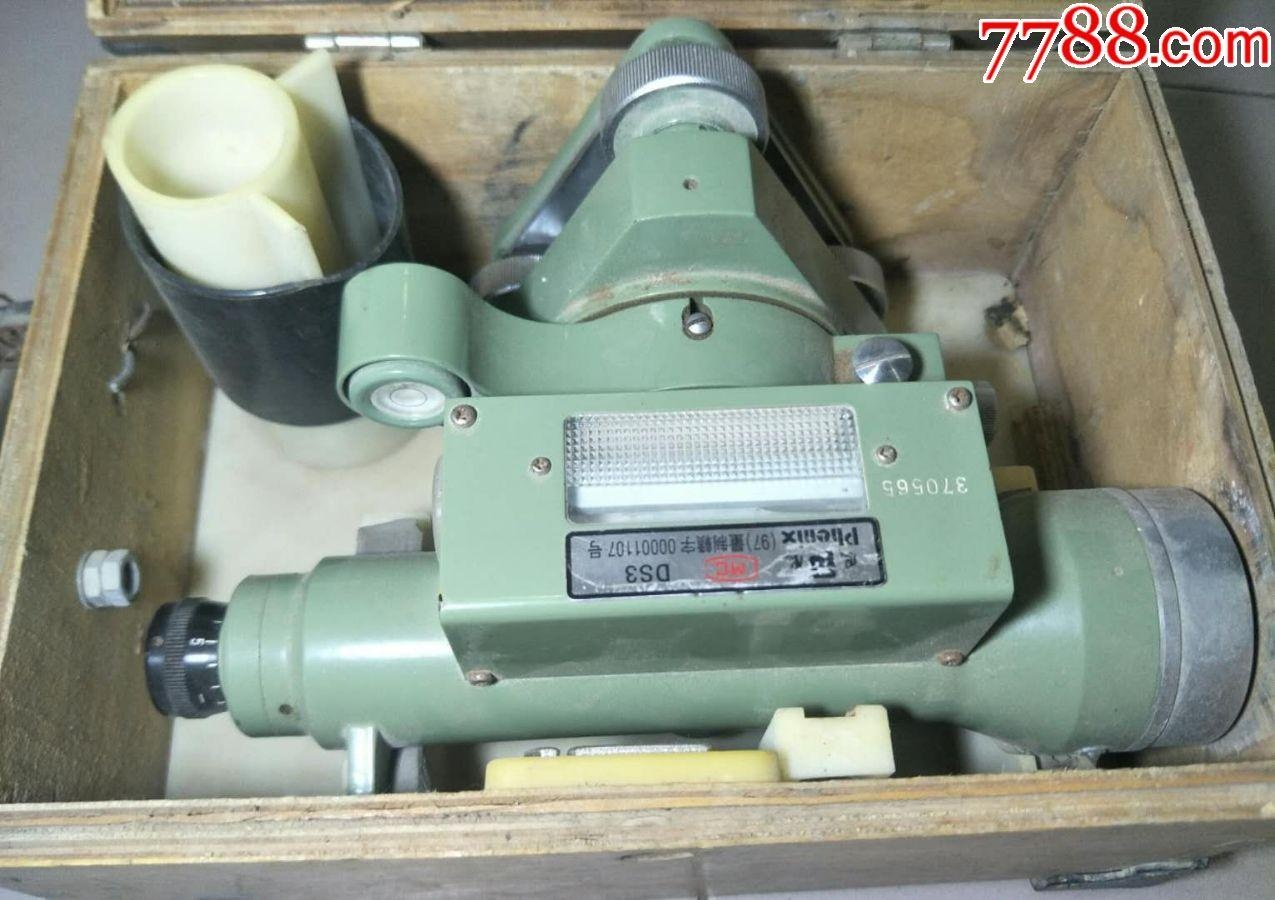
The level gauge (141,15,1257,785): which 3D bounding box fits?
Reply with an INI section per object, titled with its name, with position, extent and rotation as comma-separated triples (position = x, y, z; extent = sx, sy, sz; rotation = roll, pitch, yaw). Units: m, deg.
[level gauge]
position = 0.054, 0.010, 1.851
extent = 1.139, 0.519, 0.920
rotation = 0, 75, 2
